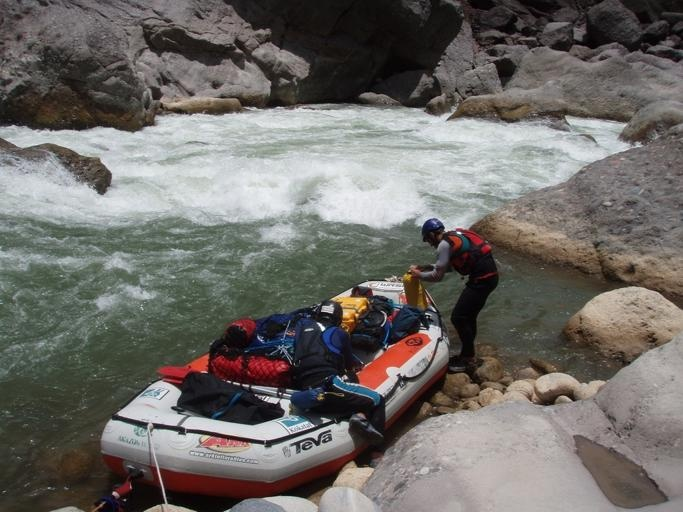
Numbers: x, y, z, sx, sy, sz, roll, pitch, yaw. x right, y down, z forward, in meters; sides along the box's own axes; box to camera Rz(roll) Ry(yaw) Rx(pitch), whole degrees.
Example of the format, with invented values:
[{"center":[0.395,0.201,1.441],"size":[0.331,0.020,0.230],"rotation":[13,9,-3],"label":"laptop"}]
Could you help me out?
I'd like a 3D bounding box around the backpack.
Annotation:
[{"center":[0.607,0.992,7.943],"size":[0.955,0.252,0.872],"rotation":[17,37,37],"label":"backpack"}]
